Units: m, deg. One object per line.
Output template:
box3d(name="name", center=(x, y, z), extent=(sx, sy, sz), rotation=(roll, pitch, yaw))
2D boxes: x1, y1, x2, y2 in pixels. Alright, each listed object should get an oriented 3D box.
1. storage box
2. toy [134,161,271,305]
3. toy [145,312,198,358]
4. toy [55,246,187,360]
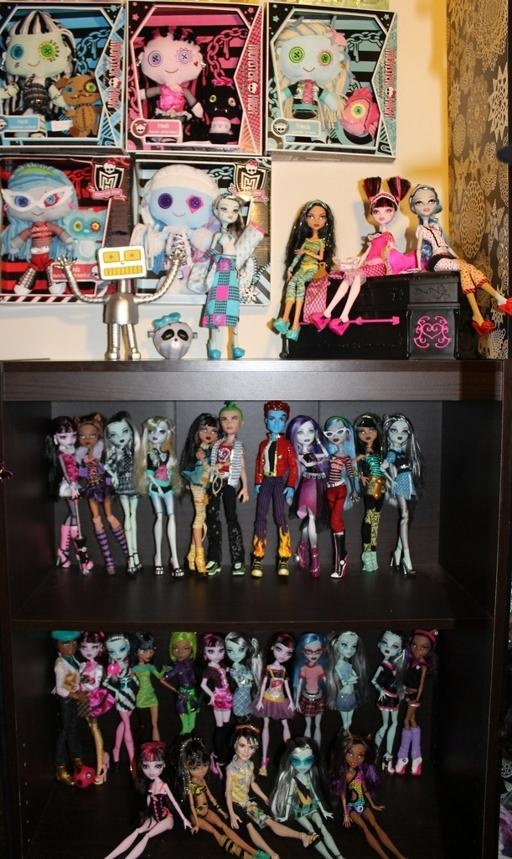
box3d(name="storage box", center=(0.254, -0.236, 1.461), extent=(0.422, 0.170, 0.117), rotation=(2, 5, 34))
box3d(name="toy", center=(-0.145, -0.479, 1.613), extent=(0.381, 0.386, 0.128), rotation=(0, 6, -3))
box3d(name="toy", center=(-0.185, -0.206, 1.468), extent=(0.099, 0.104, 0.098), rotation=(-1, 8, -12))
box3d(name="toy", center=(-0.311, -0.306, 1.558), extent=(0.294, 0.310, 0.079), rotation=(0, -1, -9))
